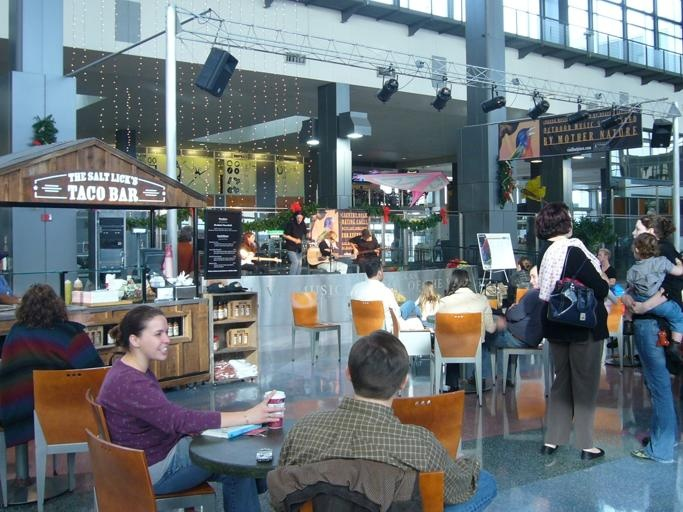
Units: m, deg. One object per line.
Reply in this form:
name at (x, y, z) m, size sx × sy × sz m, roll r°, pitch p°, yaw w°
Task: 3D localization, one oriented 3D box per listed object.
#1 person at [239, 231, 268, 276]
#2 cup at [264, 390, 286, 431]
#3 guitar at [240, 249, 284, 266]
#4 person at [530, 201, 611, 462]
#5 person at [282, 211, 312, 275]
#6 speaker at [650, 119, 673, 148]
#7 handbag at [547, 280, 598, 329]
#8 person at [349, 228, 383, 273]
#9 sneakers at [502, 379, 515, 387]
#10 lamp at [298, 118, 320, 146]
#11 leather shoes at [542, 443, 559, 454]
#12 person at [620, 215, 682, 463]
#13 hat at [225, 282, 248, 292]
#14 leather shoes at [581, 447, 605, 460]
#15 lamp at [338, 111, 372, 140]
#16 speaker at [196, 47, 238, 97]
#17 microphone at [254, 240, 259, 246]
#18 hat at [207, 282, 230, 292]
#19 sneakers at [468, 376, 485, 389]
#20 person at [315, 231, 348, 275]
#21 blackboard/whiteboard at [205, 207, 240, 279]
person at (-1.697, 0.074, 11.641) m, size 0.513 × 1.051 × 0.361 m, roll 4°, pitch 14°, yaw 0°
cup at (-0.418, 1.007, 3.908) m, size 0.144 × 0.161 × 0.214 m, roll -2°, pitch 34°, yaw -8°
guitar at (-1.592, 0.029, 11.793) m, size 0.563 × 0.194 × 0.247 m, roll 8°, pitch 8°, yaw -12°
person at (1.970, 0.649, 5.382) m, size 0.619 × 2.202 × 0.522 m, roll 2°, pitch 6°, yaw 24°
person at (-0.965, -0.284, 12.496) m, size 0.443 × 1.263 × 0.288 m, roll -1°, pitch 5°, yaw -11°
speaker at (7.104, -2.769, 13.785) m, size 0.388 × 0.604 × 0.742 m, roll 2°, pitch 6°, yaw 26°
handbag at (1.962, 0.400, 5.231) m, size 0.388 × 0.410 × 0.183 m, roll 14°, pitch -10°, yaw -8°
person at (0.460, -0.015, 13.200) m, size 0.619 × 1.493 × 0.453 m, roll -3°, pitch 39°, yaw 3°
sneakers at (1.998, 1.525, 7.471) m, size 0.115 × 0.075 × 0.067 m, roll 2°, pitch 1°, yaw -10°
lamp at (-0.831, -3.074, 15.337) m, size 0.313 × 0.676 × 0.935 m, roll -2°, pitch 6°, yaw -18°
leather shoes at (1.854, 1.710, 5.538) m, size 0.139 × 0.066 × 0.075 m, roll -7°, pitch 7°, yaw -25°
person at (2.783, 0.700, 5.563) m, size 0.479 × 2.028 × 0.728 m, roll 2°, pitch 6°, yaw 28°
hat at (-1.403, 0.414, 8.281) m, size 0.138 × 0.095 × 0.251 m, roll 5°, pitch 0°, yaw 27°
leather shoes at (2.188, 1.683, 5.395) m, size 0.177 × 0.080 × 0.091 m, roll -7°, pitch 6°, yaw -21°
lamp at (0.275, -3.000, 14.380) m, size 0.626 × 0.611 × 0.631 m, roll 1°, pitch -3°, yaw -45°
speaker at (-2.008, -2.959, 9.859) m, size 0.389 × 0.707 × 0.429 m, roll 30°, pitch 11°, yaw 31°
microphone at (-1.738, -0.280, 12.484) m, size 0.073 × 0.154 × 0.080 m, roll 0°, pitch -6°, yaw -7°
hat at (-1.681, 0.412, 8.255) m, size 0.155 × 0.094 × 0.237 m, roll 1°, pitch 1°, yaw 1°
sneakers at (1.641, 1.507, 7.465) m, size 0.090 × 0.112 × 0.254 m, roll 1°, pitch 2°, yaw -33°
person at (-0.254, -0.122, 12.739) m, size 0.522 × 0.851 × 0.430 m, roll 10°, pitch -3°, yaw 14°
blackboard/whiteboard at (-1.595, -0.149, 8.300) m, size 0.501 × 1.051 × 0.043 m, roll 1°, pitch -25°, yaw -13°
